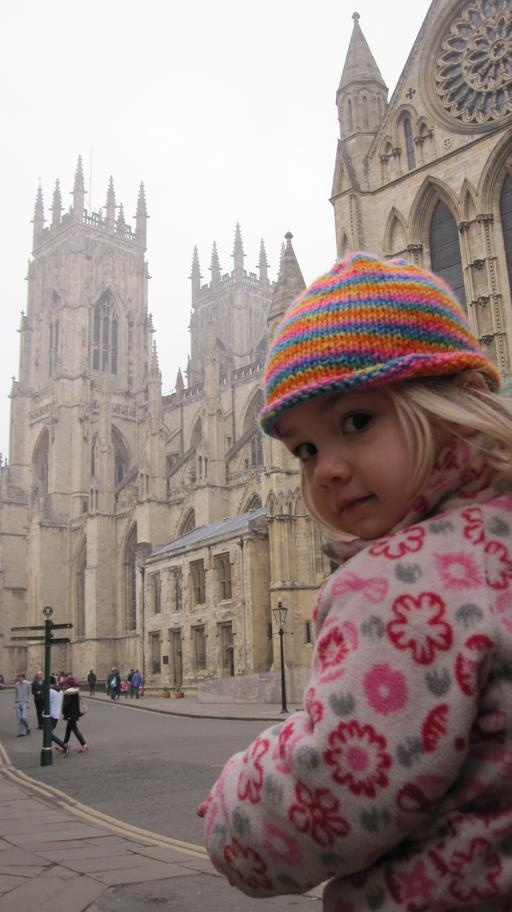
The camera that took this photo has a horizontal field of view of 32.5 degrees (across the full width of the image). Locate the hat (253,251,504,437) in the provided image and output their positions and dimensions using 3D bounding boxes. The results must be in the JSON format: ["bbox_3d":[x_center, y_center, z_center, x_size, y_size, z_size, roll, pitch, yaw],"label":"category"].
[{"bbox_3d":[0.173,-0.182,1.397,0.282,0.205,0.278,-4,-25,-2],"label":"hat"}]
